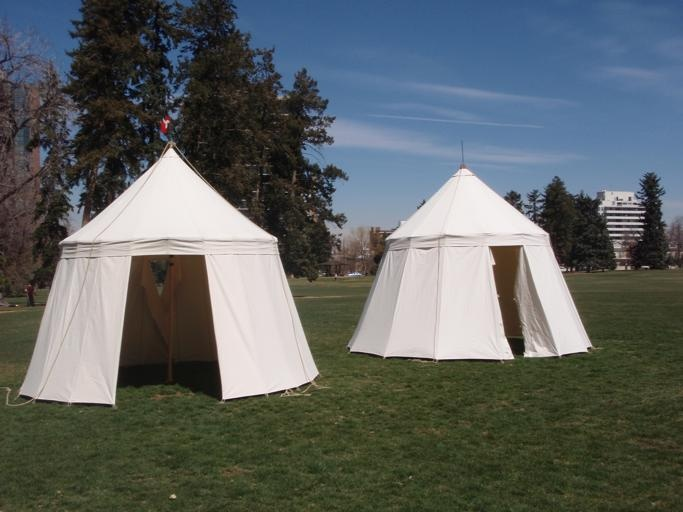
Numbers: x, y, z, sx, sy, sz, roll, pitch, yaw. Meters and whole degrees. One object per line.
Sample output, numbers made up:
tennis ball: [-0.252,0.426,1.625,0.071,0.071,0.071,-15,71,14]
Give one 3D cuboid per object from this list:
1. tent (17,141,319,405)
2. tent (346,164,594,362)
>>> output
tent: [-3.901,0.211,15.293,6.592,5.844,5.702,-2,9,0]
tent: [3.313,0.804,18.662,5.802,4.505,5.658,0,-4,-7]
